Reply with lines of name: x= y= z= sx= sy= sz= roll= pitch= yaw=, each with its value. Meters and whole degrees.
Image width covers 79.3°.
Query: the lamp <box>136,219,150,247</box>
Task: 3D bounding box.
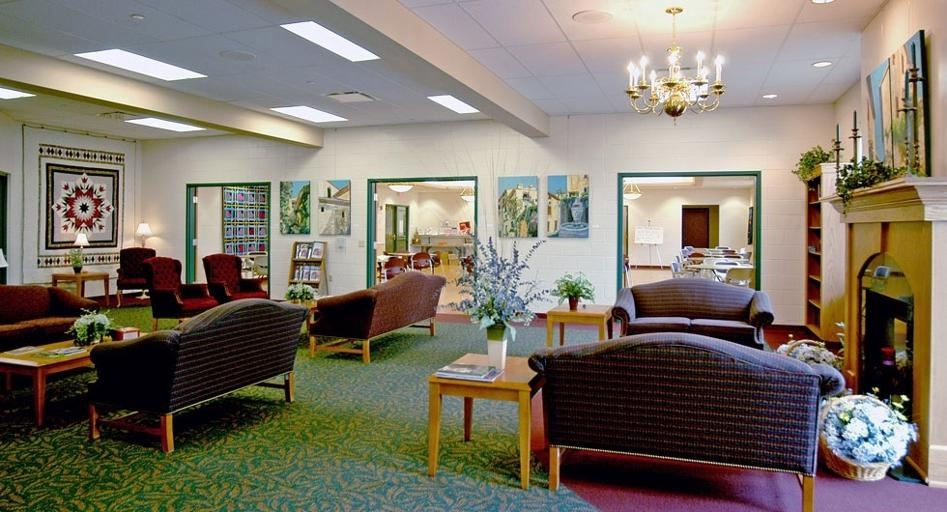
lamp: x=-8.766 y=-0.565 z=15.212 sx=0.365 sy=0.638 sz=0.563 roll=-9 pitch=18 yaw=-29

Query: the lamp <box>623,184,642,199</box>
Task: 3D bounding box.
lamp: x=5.510 y=-2.308 z=20.100 sx=0.444 sy=0.518 sz=0.922 roll=6 pitch=16 yaw=19

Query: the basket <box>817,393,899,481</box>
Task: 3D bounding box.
basket: x=4.546 y=2.159 z=6.872 sx=1.001 sy=0.616 sz=0.955 roll=1 pitch=-2 yaw=18

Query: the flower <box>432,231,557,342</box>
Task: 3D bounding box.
flower: x=0.208 y=0.544 z=7.081 sx=0.969 sy=1.063 sz=0.866 roll=7 pitch=0 yaw=-15

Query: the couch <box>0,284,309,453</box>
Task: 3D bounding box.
couch: x=-3.516 y=1.439 z=7.322 sx=2.473 sy=1.696 sz=0.873 roll=-9 pitch=18 yaw=-32

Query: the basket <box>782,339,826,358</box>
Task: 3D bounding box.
basket: x=4.480 y=1.258 z=7.954 sx=0.422 sy=0.163 sz=0.433 roll=0 pitch=-1 yaw=-9

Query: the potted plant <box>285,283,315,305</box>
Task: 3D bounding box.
potted plant: x=-3.267 y=0.737 z=10.926 sx=0.466 sy=0.298 sz=0.461 roll=6 pitch=4 yaw=25

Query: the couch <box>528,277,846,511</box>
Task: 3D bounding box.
couch: x=2.698 y=1.547 z=7.324 sx=2.844 sy=1.546 sz=2.859 roll=2 pitch=3 yaw=19

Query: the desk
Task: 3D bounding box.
desk: x=0.187 y=1.927 z=7.067 sx=1.468 sy=1.221 sz=1.341 roll=1 pitch=2 yaw=19
